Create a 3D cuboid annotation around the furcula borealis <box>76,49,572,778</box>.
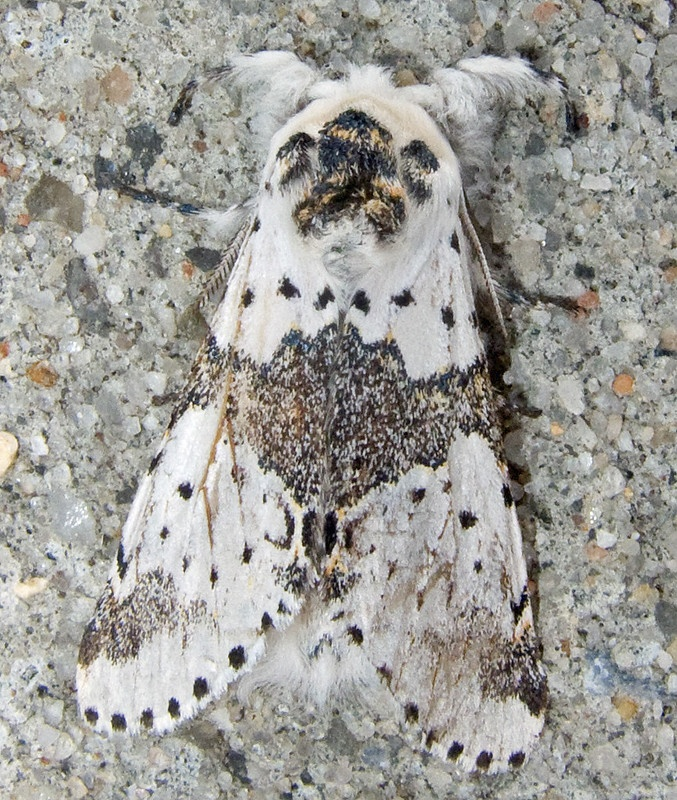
[{"bbox_3d":[0.020,0.022,2.013,0.790,0.303,1.359,12,83,2],"label":"furcula borealis"}]
